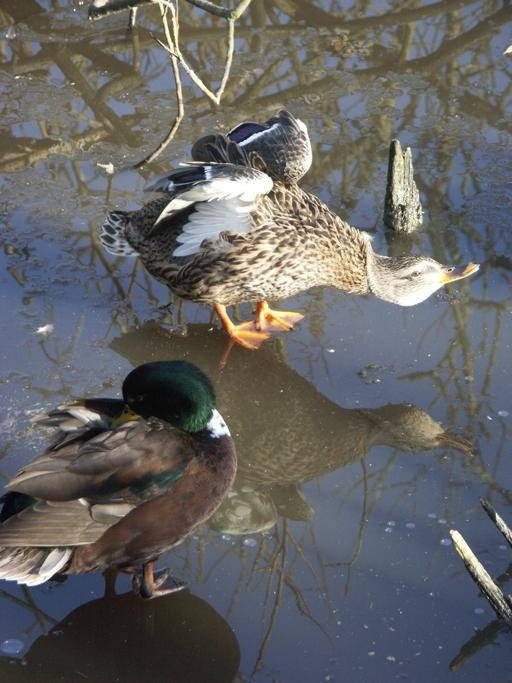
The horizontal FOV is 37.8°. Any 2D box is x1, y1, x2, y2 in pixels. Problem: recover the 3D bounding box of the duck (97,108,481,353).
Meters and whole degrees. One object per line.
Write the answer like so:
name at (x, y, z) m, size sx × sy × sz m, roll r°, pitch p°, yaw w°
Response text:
duck at (0.129, -0.505, 4.192) m, size 2.079 × 0.897 × 1.423 m, roll 17°, pitch 25°, yaw 19°
